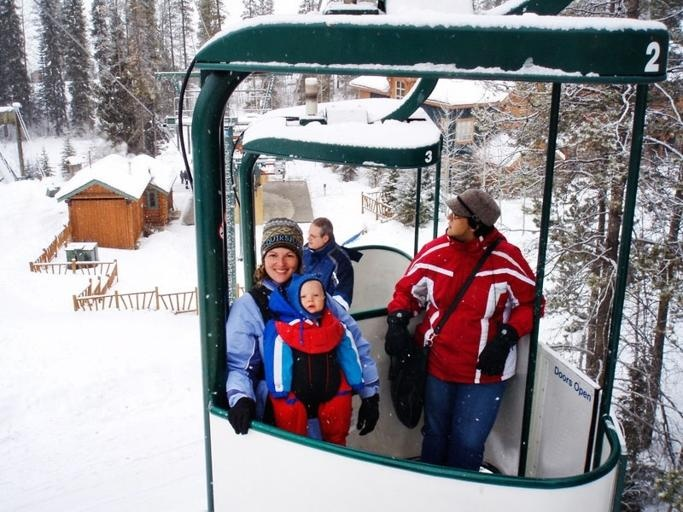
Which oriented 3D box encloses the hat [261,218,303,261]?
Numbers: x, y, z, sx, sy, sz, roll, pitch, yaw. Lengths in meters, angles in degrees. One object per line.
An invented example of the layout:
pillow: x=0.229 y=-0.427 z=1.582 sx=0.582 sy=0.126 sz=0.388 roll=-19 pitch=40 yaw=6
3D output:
hat: x=-0.551 y=-0.157 z=6.465 sx=0.288 sy=0.355 sz=0.352 roll=-3 pitch=-25 yaw=-1

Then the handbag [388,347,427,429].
handbag: x=0.623 y=1.226 z=6.624 sx=0.189 sy=0.689 sz=0.439 roll=2 pitch=3 yaw=-6

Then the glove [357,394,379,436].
glove: x=0.225 y=1.396 z=6.287 sx=0.210 sy=0.349 sz=0.111 roll=-1 pitch=-3 yaw=15

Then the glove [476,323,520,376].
glove: x=1.365 y=0.829 z=6.387 sx=0.262 sy=0.499 sz=0.220 roll=28 pitch=2 yaw=3

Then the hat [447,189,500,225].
hat: x=1.218 y=-0.478 z=6.568 sx=0.514 sy=0.293 sz=0.415 roll=27 pitch=11 yaw=8
